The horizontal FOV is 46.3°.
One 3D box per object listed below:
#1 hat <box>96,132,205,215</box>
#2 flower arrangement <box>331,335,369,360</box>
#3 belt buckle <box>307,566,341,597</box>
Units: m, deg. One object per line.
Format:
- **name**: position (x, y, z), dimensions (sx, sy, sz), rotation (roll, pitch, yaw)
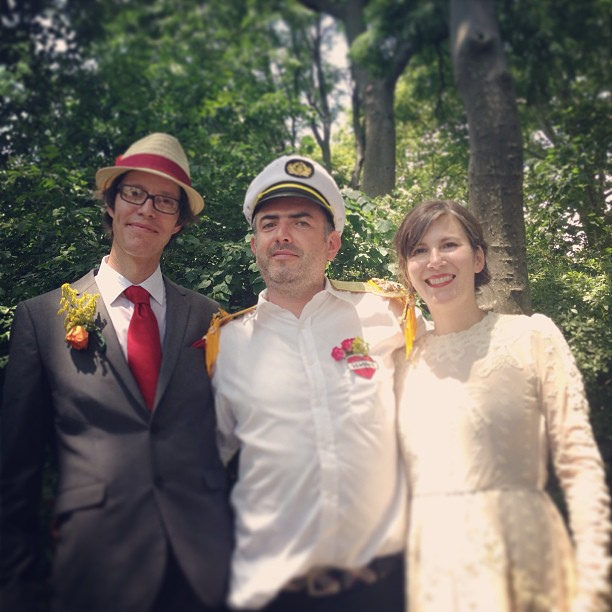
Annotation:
- **hat**: position (-0.946, -0.906, 4.513), dimensions (0.603, 0.377, 0.695), rotation (6, -5, 0)
- **flower arrangement**: position (0.255, 0.248, 3.988), dimensions (0.133, 0.070, 0.148), rotation (24, 47, 22)
- **belt buckle**: position (0.091, 1.408, 3.659), dimensions (0.170, 0.109, 0.012), rotation (-6, 3, -10)
